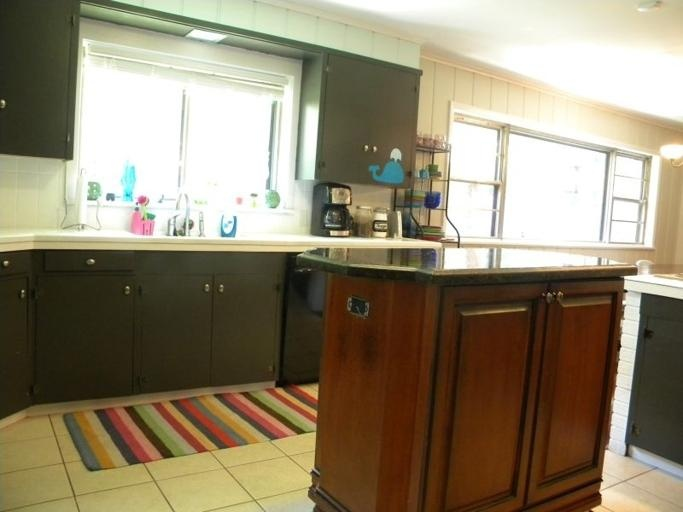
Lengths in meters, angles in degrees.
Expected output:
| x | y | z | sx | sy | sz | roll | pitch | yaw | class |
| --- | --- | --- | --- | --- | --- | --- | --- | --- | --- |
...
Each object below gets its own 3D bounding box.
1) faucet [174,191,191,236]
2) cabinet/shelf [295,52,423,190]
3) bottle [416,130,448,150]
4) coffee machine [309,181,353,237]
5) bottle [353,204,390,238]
| x | y | z | sx | sy | sz | roll | pitch | yaw | class |
| --- | --- | --- | --- | --- | --- | --- | --- | --- | --- |
| -1.204 | -0.328 | 4.045 | 0.134 | 0.324 | 0.373 | 1 | 13 | -17 | faucet |
| 0.103 | -1.144 | 4.551 | 1.259 | 1.170 | 0.491 | 0 | 3 | -31 | cabinet/shelf |
| 0.872 | -1.117 | 5.242 | 0.297 | 0.099 | 0.203 | 4 | 8 | 32 | bottle |
| -0.090 | -0.388 | 4.530 | 0.342 | 0.570 | 0.452 | 0 | 1 | -31 | coffee machine |
| 0.244 | -0.305 | 4.857 | 0.322 | 0.275 | 0.263 | -2 | 4 | -25 | bottle |
